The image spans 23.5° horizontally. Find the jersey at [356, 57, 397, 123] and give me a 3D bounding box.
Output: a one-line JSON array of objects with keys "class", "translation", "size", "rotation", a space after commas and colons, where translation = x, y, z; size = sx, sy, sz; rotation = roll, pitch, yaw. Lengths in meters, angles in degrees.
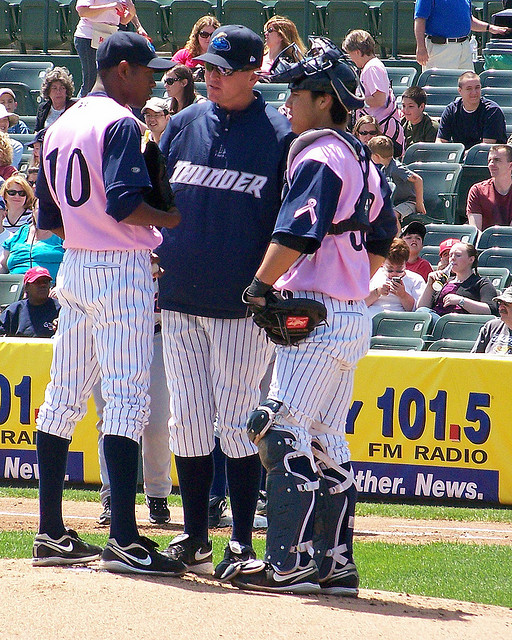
[{"class": "jersey", "translation": [1.077, -2.026, 10.757], "size": [0.344, 0.594, 0.657], "rotation": [5, 0, 3]}]

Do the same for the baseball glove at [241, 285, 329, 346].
[{"class": "baseball glove", "translation": [0.110, -0.002, 4.653], "size": [0.274, 0.090, 0.199], "rotation": [22, -5, -36]}]

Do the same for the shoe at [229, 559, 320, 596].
[{"class": "shoe", "translation": [0.094, 1.014, 4.783], "size": [0.354, 0.129, 0.117], "rotation": [6, -19, 9]}]

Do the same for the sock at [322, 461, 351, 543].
[{"class": "sock", "translation": [0.314, 0.724, 4.848], "size": [0.114, 0.319, 0.047], "rotation": [5, 1, -27]}]

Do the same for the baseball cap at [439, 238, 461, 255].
[{"class": "baseball cap", "translation": [1.404, -0.521, 8.853], "size": [0.208, 0.077, 0.277], "rotation": [-9, 5, 12]}]

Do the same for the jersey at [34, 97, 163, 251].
[{"class": "jersey", "translation": [-0.623, -0.581, 5.003], "size": [0.415, 0.629, 0.802], "rotation": [-10, 11, -42]}]

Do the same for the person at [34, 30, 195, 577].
[{"class": "person", "translation": [-0.595, -0.087, 4.931], "size": [0.721, 2.097, 0.427], "rotation": [6, 0, 40]}]

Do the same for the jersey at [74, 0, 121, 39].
[{"class": "jersey", "translation": [-1.323, -2.517, 10.358], "size": [0.366, 0.311, 0.516], "rotation": [5, 0, -8]}]

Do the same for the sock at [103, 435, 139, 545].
[{"class": "sock", "translation": [-0.516, 0.656, 4.746], "size": [0.170, 0.409, 0.096], "rotation": [6, 0, -6]}]

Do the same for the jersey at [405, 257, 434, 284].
[{"class": "jersey", "translation": [1.198, -0.356, 9.047], "size": [0.283, 0.104, 0.248], "rotation": [9, 28, 14]}]

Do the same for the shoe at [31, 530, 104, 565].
[{"class": "shoe", "translation": [-0.762, 0.921, 4.952], "size": [0.339, 0.130, 0.117], "rotation": [2, -4, -32]}]

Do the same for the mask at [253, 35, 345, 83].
[{"class": "mask", "translation": [0.187, -1.023, 4.855], "size": [0.336, 0.144, 0.262], "rotation": [-21, 17, -12]}]

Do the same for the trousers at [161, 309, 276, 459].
[{"class": "trousers", "translation": [-0.203, 0.300, 5.113], "size": [0.404, 0.233, 0.636], "rotation": [-1, 47, -12]}]

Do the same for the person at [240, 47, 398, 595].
[{"class": "person", "translation": [0.234, -0.023, 4.896], "size": [0.562, 2.128, 0.703], "rotation": [6, 0, 5]}]

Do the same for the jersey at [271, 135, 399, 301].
[{"class": "jersey", "translation": [0.299, -0.401, 4.890], "size": [0.372, 0.637, 0.743], "rotation": [10, 7, 35]}]

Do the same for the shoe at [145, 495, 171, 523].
[{"class": "shoe", "translation": [-0.513, 1.001, 6.447], "size": [0.145, 0.150, 0.388], "rotation": [2, -7, -7]}]

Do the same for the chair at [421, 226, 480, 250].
[{"class": "chair", "translation": [1.554, -0.672, 9.728], "size": [0.353, 0.289, 0.208], "rotation": [3, -24, 15]}]

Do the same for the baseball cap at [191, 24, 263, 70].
[{"class": "baseball cap", "translation": [-0.094, -1.127, 5.064], "size": [0.258, 0.195, 0.267], "rotation": [5, 0, -3]}]

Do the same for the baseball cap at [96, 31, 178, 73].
[{"class": "baseball cap", "translation": [-0.488, -1.085, 5.006], "size": [0.357, 0.148, 0.206], "rotation": [-2, 6, -9]}]

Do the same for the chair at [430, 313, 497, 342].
[{"class": "chair", "translation": [1.382, 0.047, 8.284], "size": [0.334, 0.213, 0.251], "rotation": [4, 7, -17]}]

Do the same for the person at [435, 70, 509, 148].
[{"class": "person", "translation": [1.995, -1.907, 11.254], "size": [0.573, 0.693, 0.543], "rotation": [5, 0, -17]}]

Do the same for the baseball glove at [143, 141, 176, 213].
[{"class": "baseball glove", "translation": [-0.372, -0.565, 4.880], "size": [0.118, 0.274, 0.220], "rotation": [6, 0, 12]}]

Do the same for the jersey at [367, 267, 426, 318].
[{"class": "jersey", "translation": [0.974, -0.139, 8.812], "size": [0.429, 0.453, 0.316], "rotation": [8, -6, 16]}]

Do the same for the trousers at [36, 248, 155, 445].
[{"class": "trousers", "translation": [-0.616, 0.097, 4.908], "size": [0.503, 0.755, 0.242], "rotation": [5, 0, 28]}]

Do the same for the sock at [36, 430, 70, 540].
[{"class": "sock", "translation": [-0.810, 0.659, 4.926], "size": [0.151, 0.419, 0.153], "rotation": [6, 0, 3]}]

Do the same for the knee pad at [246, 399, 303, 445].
[{"class": "knee pad", "translation": [0.050, 0.381, 4.724], "size": [0.212, 0.097, 0.146], "rotation": [-16, -26, -22]}]

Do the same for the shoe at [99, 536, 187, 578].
[{"class": "shoe", "translation": [-0.443, 0.928, 4.819], "size": [0.378, 0.146, 0.127], "rotation": [10, -2, -20]}]

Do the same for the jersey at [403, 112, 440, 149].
[{"class": "jersey", "translation": [1.523, -1.745, 11.407], "size": [0.259, 0.325, 0.453], "rotation": [-6, 10, -44]}]
